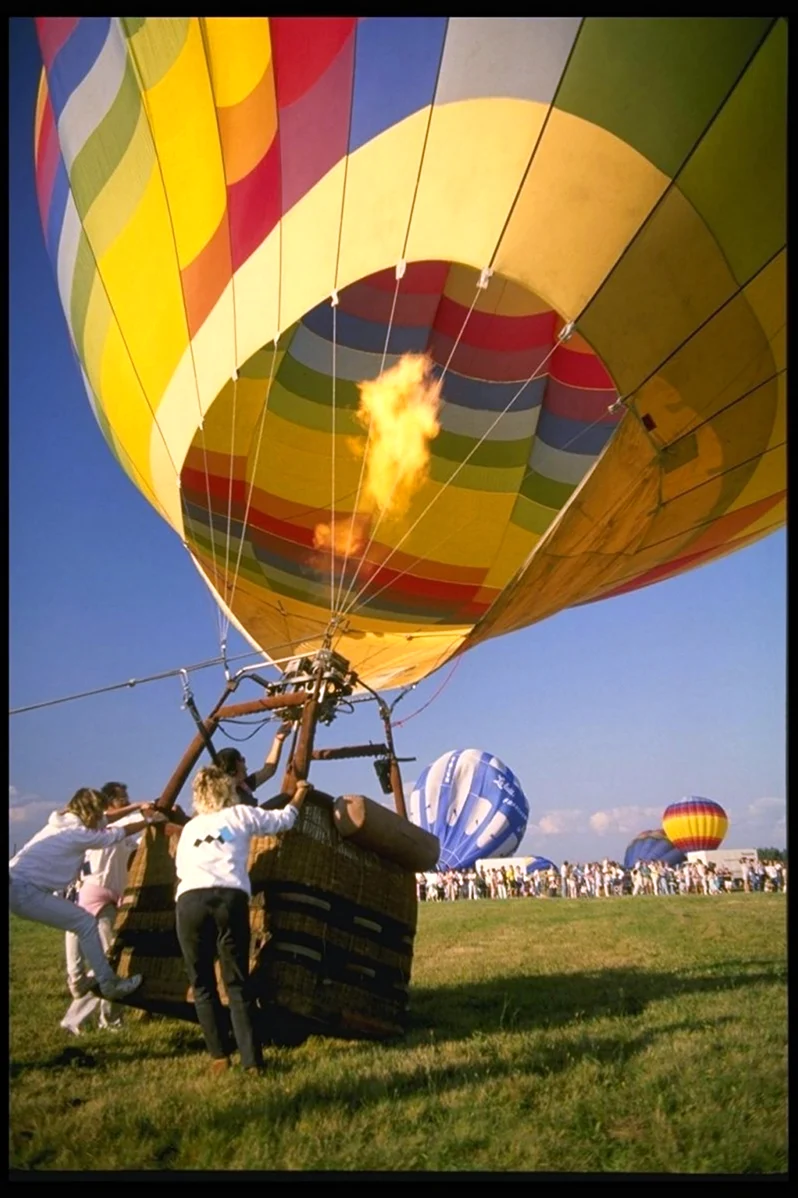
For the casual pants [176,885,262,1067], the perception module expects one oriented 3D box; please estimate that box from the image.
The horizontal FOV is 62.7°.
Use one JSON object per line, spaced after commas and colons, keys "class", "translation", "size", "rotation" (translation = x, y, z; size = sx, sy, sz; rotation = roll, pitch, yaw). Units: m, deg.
{"class": "casual pants", "translation": [-0.623, 1.302, 2.339], "size": [0.336, 0.592, 0.273], "rotation": [2, -11, -3]}
